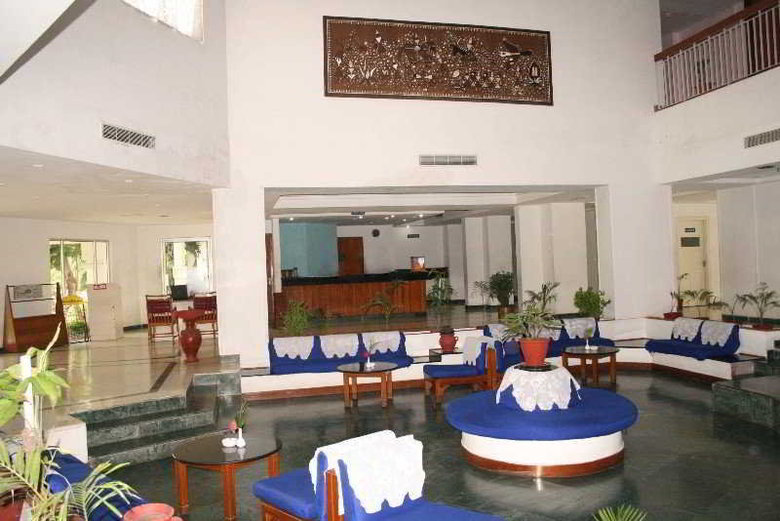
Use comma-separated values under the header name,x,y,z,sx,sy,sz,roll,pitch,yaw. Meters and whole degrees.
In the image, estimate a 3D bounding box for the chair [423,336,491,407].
name,x,y,z,sx,sy,sz,roll,pitch,yaw
chair,1.180,1.922,9.923,1.117,1.028,1.140,0,-3,-13

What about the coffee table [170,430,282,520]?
name,x,y,z,sx,sy,sz,roll,pitch,yaw
coffee table,-1.957,2.467,6.634,0.959,0.631,1.006,2,4,22

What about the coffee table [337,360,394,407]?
name,x,y,z,sx,sy,sz,roll,pitch,yaw
coffee table,-0.396,2.112,9.719,0.821,0.520,0.828,0,-2,-1

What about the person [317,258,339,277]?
name,x,y,z,sx,sy,sz,roll,pitch,yaw
person,-1.852,0.278,16.514,0.827,0.737,0.483,0,-7,-4

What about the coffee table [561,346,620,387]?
name,x,y,z,sx,sy,sz,roll,pitch,yaw
coffee table,3.726,1.847,10.434,0.919,0.598,0.928,0,0,39

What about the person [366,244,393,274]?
name,x,y,z,sx,sy,sz,roll,pitch,yaw
person,-0.261,-0.045,18.206,0.727,0.975,1.264,-3,8,-12

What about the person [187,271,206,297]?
name,x,y,z,sx,sy,sz,roll,pitch,yaw
person,-5.230,0.643,14.942,0.561,0.773,0.464,-3,-5,-9

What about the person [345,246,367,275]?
name,x,y,z,sx,sy,sz,roll,pitch,yaw
person,-1.039,-0.050,17.528,0.555,0.894,0.588,-8,10,-37

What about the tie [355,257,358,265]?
name,x,y,z,sx,sy,sz,roll,pitch,yaw
tie,-1.049,0.021,17.483,0.147,0.247,0.051,-1,-4,11

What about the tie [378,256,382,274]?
name,x,y,z,sx,sy,sz,roll,pitch,yaw
tie,-0.300,0.112,18.016,0.113,0.481,0.285,-2,8,-5

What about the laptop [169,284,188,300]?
name,x,y,z,sx,sy,sz,roll,pitch,yaw
laptop,-5.489,0.823,14.503,0.467,0.453,0.362,1,2,-7
